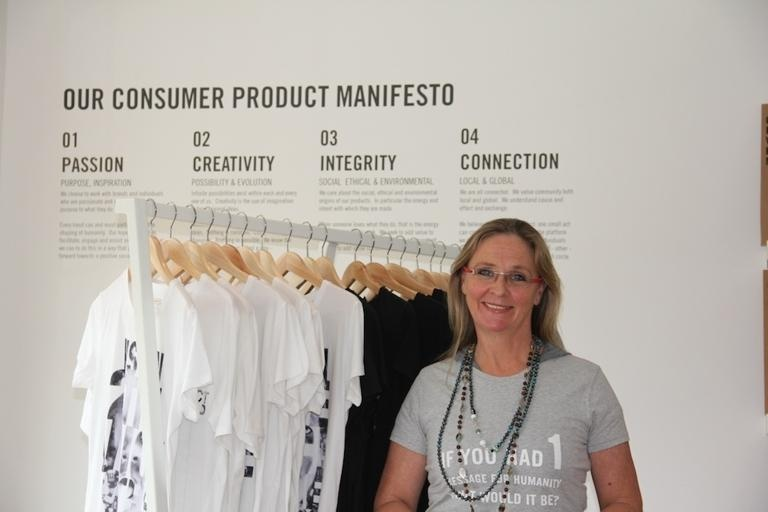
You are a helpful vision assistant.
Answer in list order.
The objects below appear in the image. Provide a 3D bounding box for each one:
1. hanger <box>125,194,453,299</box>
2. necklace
[{"bbox_3d":[-0.440,-0.049,3.551,0.409,0.542,1.426,-8,-13,44],"label":"hanger"},{"bbox_3d":[0.462,0.723,2.795,0.442,0.698,0.201,-1,-4,17],"label":"necklace"}]
